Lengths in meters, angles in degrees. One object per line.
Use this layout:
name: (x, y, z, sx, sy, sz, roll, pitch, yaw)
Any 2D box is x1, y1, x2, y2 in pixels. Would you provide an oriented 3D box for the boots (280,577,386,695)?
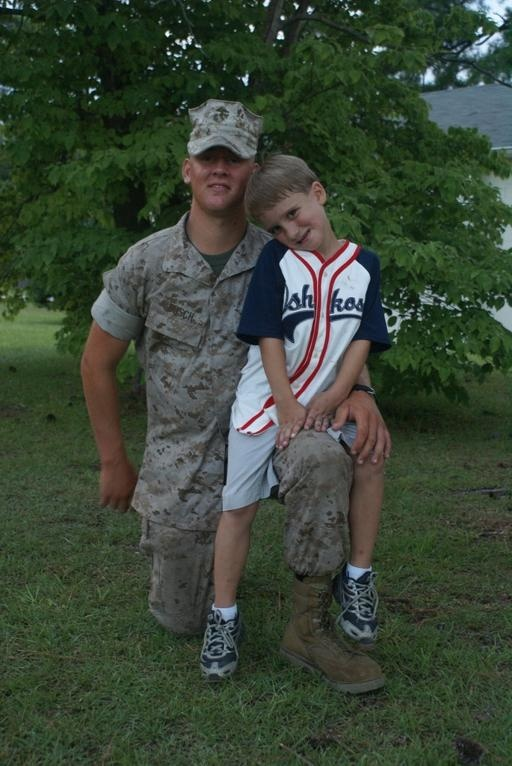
boots: (0.220, 0.728, 2.128, 0.154, 0.258, 0.391, 0, 3, -40)

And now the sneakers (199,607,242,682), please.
sneakers: (-0.113, 0.782, 2.208, 0.109, 0.170, 0.197, 2, 10, 1)

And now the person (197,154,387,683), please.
person: (0.143, 0.079, 2.221, 0.524, 1.562, 0.633, 4, 10, 9)

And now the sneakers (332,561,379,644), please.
sneakers: (0.303, 0.676, 2.276, 0.104, 0.116, 0.256, 6, 36, -21)

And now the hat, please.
hat: (-0.114, -0.884, 2.506, 0.279, 0.167, 0.299, -6, 25, -25)

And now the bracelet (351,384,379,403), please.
bracelet: (0.347, 0.028, 2.336, 0.078, 0.027, 0.054, 12, -20, 9)
